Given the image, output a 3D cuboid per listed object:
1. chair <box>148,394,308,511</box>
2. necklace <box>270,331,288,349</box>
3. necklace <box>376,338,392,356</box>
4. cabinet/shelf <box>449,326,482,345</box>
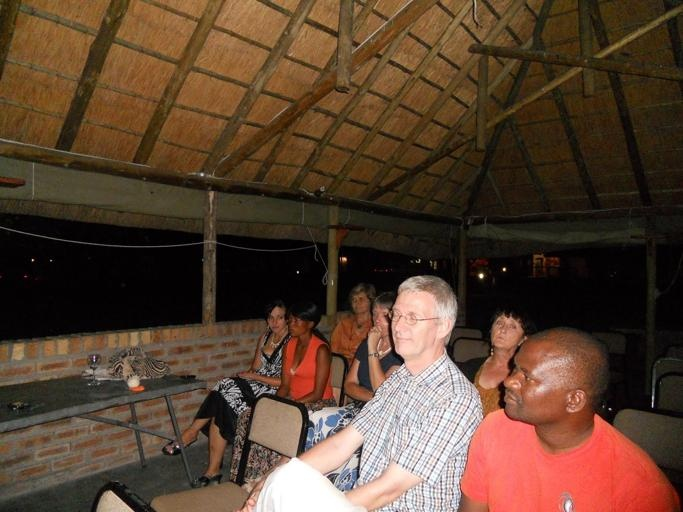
[{"bbox_3d":[-0.678,1.410,3.351,0.581,0.778,1.108,-7,-15,41],"label":"chair"},{"bbox_3d":[-0.679,0.882,4.964,0.143,0.143,0.138,7,-25,-24],"label":"necklace"},{"bbox_3d":[0.373,0.808,4.132,0.100,0.072,0.137,-9,-9,40],"label":"necklace"},{"bbox_3d":[1.728,1.059,6.456,0.389,0.096,0.353,-5,-4,41],"label":"cabinet/shelf"}]
